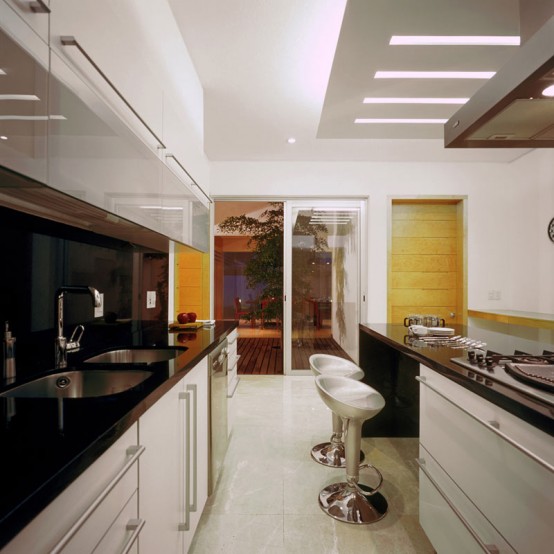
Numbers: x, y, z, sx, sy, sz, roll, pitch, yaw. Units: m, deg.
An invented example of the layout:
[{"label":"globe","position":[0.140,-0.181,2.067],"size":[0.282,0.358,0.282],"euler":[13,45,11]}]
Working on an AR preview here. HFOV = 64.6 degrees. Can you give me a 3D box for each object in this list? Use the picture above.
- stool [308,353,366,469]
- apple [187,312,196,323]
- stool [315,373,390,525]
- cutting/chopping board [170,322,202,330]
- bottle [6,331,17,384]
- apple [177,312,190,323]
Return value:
[{"label":"stool","position":[0.386,0.844,2.764],"size":[0.305,0.585,0.321],"euler":[-1,4,-38]},{"label":"apple","position":[-0.600,0.284,3.113],"size":[0.053,0.067,0.054],"euler":[-1,-6,-20]},{"label":"stool","position":[0.368,0.854,2.184],"size":[0.318,0.603,0.332],"euler":[0,-1,-2]},{"label":"cutting/chopping board","position":[-0.634,0.334,3.055],"size":[0.221,0.035,0.376],"euler":[-2,1,-13]},{"label":"bottle","position":[-0.904,0.269,1.485],"size":[0.029,0.163,0.074],"euler":[-2,2,-32]},{"label":"apple","position":[-0.654,0.285,3.071],"size":[0.061,0.076,0.061],"euler":[16,-4,-18]}]
